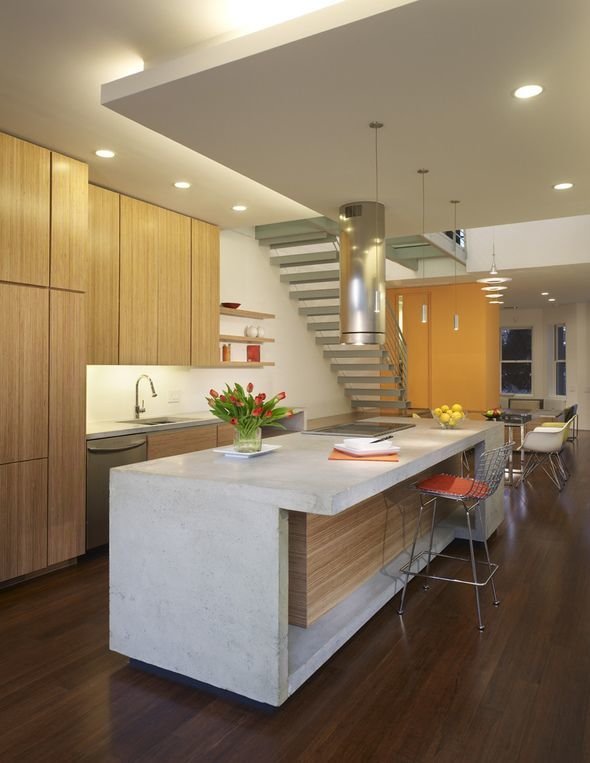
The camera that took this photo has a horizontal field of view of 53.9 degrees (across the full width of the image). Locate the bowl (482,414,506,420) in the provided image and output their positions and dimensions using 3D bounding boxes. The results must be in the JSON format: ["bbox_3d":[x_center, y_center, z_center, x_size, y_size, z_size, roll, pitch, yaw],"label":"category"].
[{"bbox_3d":[2.194,0.395,6.394,0.198,0.062,0.194,-1,2,0],"label":"bowl"}]

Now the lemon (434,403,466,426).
[{"bbox_3d":[1.080,0.239,4.006,0.206,0.137,0.203,-2,-1,-3],"label":"lemon"}]

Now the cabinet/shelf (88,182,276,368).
[{"bbox_3d":[-0.981,-0.883,4.868,0.508,1.358,1.630,1,0,30],"label":"cabinet/shelf"}]

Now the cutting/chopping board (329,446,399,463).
[{"bbox_3d":[0.319,0.346,2.691,0.307,0.030,0.272,0,0,9],"label":"cutting/chopping board"}]

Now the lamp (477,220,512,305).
[{"bbox_3d":[2.749,-1.626,8.040,0.381,0.780,0.376,-4,11,7],"label":"lamp"}]

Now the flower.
[{"bbox_3d":[-0.234,0.147,2.718,0.322,0.225,0.344,1,-2,39],"label":"flower"}]

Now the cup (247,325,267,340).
[{"bbox_3d":[-0.404,-0.501,6.094,0.107,0.093,0.183,7,11,30],"label":"cup"}]

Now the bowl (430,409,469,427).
[{"bbox_3d":[1.053,0.248,3.992,0.181,0.102,0.180,-1,-3,0],"label":"bowl"}]

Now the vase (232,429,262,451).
[{"bbox_3d":[-0.218,0.276,2.744,0.110,0.078,0.108,0,-4,-6],"label":"vase"}]
